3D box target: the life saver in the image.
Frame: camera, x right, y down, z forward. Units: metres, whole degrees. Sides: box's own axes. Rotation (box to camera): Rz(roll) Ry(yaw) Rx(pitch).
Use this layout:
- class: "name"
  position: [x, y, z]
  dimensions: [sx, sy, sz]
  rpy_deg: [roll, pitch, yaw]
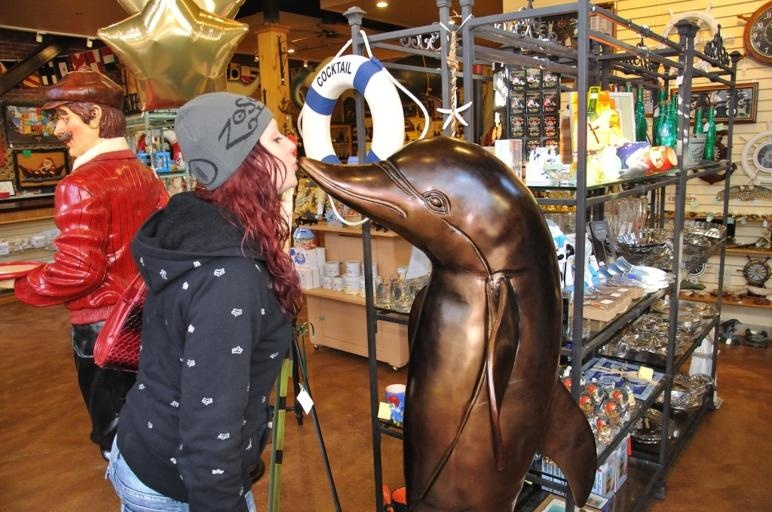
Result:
- class: "life saver"
  position: [-0.132, -0.743, 2.894]
  dimensions: [0.159, 0.633, 0.558]
  rpy_deg: [-8, 10, -40]

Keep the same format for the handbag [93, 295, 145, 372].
- class: "handbag"
  position: [-1.153, 0.343, 2.509]
  dimensions: [0.099, 0.315, 0.235]
  rpy_deg: [20, -25, -5]

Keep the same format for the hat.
- class: "hat"
  position: [-0.630, -0.438, 2.230]
  dimensions: [0.367, 0.373, 0.126]
  rpy_deg: [-1, 9, -10]
